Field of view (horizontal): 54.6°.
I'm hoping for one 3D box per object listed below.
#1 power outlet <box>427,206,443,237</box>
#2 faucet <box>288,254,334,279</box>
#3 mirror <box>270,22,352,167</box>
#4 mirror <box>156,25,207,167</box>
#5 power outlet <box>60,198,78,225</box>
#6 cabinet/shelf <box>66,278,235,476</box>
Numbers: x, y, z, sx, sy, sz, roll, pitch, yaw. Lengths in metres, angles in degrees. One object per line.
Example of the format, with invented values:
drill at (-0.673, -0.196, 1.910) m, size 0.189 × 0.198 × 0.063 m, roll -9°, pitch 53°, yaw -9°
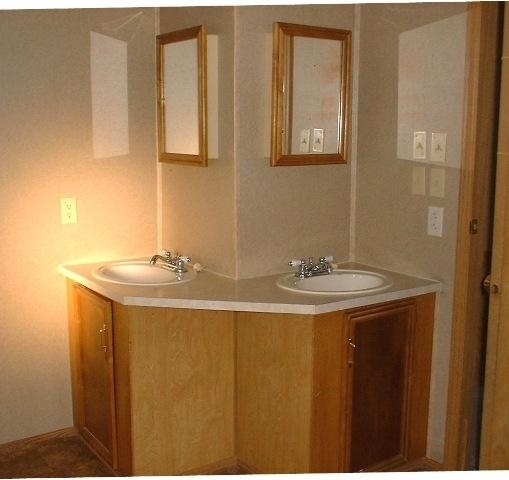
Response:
power outlet at (0.781, -0.084, 2.120) m, size 0.017 × 0.160 × 0.114 m, roll -8°, pitch 10°, yaw -35°
faucet at (0.259, 0.129, 2.312) m, size 0.264 × 0.100 × 0.090 m, roll -1°, pitch -2°, yaw -33°
mirror at (0.263, -0.644, 2.226) m, size 0.434 × 0.622 × 0.048 m, roll -6°, pitch 13°, yaw -27°
mirror at (-0.343, -0.657, 2.274) m, size 0.042 × 0.610 × 0.428 m, roll -10°, pitch 18°, yaw -38°
power outlet at (-0.923, -0.146, 2.417) m, size 0.112 × 0.165 × 0.017 m, roll -6°, pitch 12°, yaw -36°
cabinet/shelf at (-0.480, 0.510, 2.481) m, size 0.690 × 0.994 × 1.001 m, roll -2°, pitch 4°, yaw -30°
